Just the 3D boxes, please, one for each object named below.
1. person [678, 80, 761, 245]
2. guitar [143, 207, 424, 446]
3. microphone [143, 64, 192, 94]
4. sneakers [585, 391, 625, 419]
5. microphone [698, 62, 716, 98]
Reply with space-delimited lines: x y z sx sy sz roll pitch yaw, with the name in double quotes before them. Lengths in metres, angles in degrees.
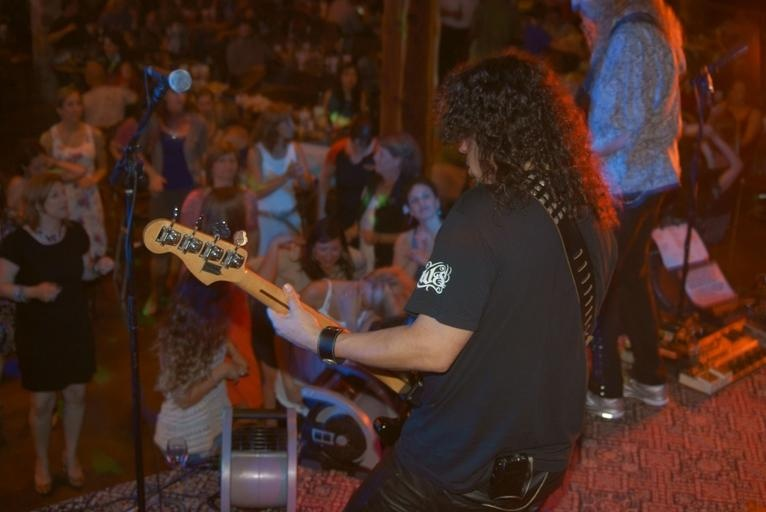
"person" 3.586 -0.992 7.773 0.534 1.662 0.845 25 26 36
"guitar" -0.713 0.552 5.252 2.075 0.832 0.312 40 45 -2
"microphone" -1.254 -1.027 4.237 0.239 0.162 0.285 1 23 -23
"sneakers" 1.754 1.196 5.838 0.207 0.127 0.294 -2 -10 42
"microphone" 2.718 -1.495 6.170 0.152 0.229 0.297 17 22 19
